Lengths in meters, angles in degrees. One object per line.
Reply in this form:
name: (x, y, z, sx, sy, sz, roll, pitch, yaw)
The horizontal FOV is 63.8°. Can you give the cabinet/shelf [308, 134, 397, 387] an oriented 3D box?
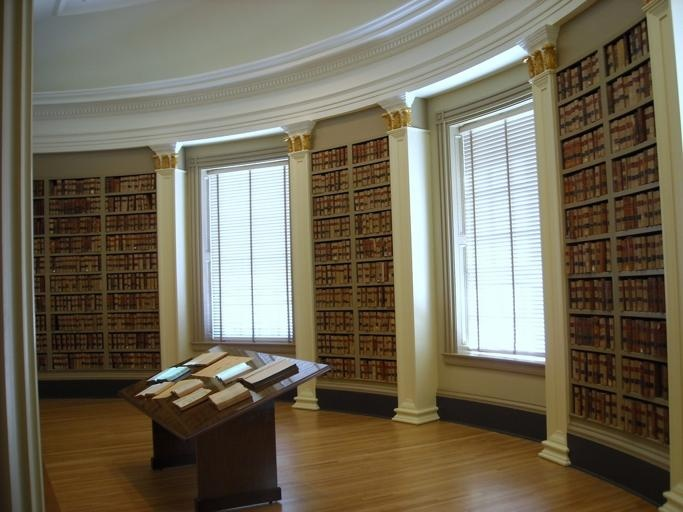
cabinet/shelf: (0.175, 0.676, 7.370, 1.098, 0.286, 2.538, 0, 45, -2)
